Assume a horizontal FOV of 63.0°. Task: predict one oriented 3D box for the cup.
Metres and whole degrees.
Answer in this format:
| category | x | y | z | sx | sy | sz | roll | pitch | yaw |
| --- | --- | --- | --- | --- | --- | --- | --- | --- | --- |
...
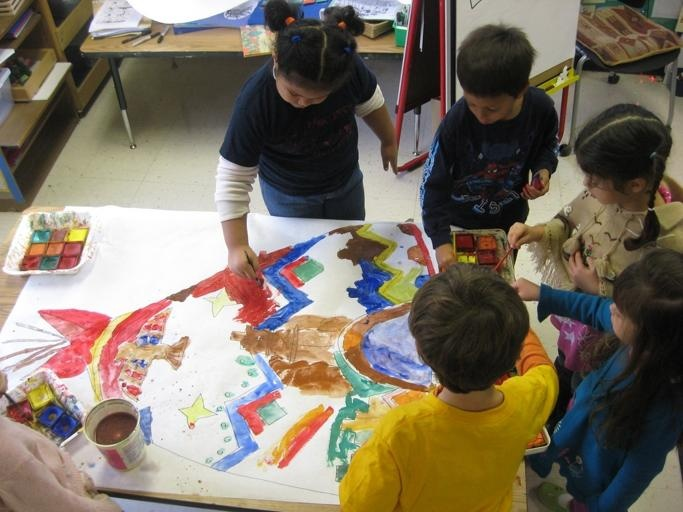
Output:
| category | x | y | z | sx | sy | sz | roll | pitch | yaw |
| --- | --- | --- | --- | --- | --- | --- | --- | --- | --- |
| cup | -0.681 | 0.568 | 1.818 | 0.192 | 0.232 | 0.228 | -2 | 66 | -3 |
